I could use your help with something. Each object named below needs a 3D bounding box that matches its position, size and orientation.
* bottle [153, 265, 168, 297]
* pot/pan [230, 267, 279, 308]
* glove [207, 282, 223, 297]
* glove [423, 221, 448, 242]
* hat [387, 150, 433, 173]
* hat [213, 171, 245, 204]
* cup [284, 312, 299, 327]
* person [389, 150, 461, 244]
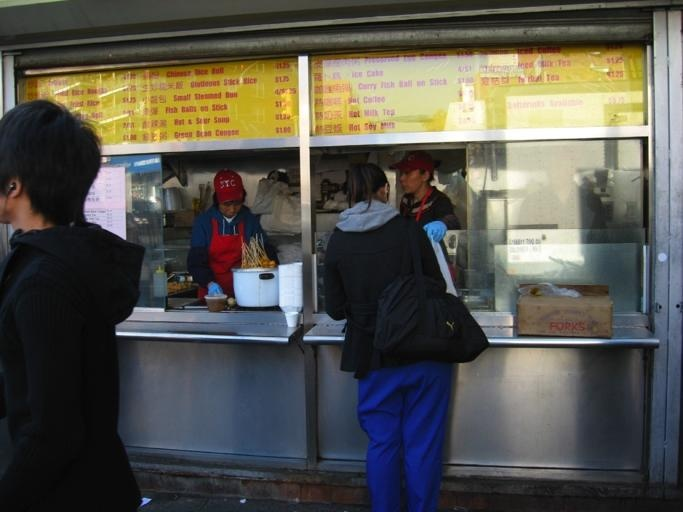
[{"bbox_3d":[-1.217,0.177,4.793,0.084,0.216,0.031,-2,2,-19],"label":"bottle"},{"bbox_3d":[-0.537,0.203,4.592,0.247,0.177,0.281,0,0,-14],"label":"pot/pan"},{"bbox_3d":[-0.854,0.231,4.832,0.081,0.042,0.112,1,7,-3],"label":"glove"},{"bbox_3d":[0.565,-0.137,4.298,0.107,0.146,0.046,-2,-21,5],"label":"glove"},{"bbox_3d":[0.492,-0.629,4.775,0.203,0.117,0.148,0,6,-9],"label":"hat"},{"bbox_3d":[-0.808,-0.515,5.128,0.162,0.266,0.109,-6,-35,-10],"label":"hat"},{"bbox_3d":[-0.311,0.410,4.507,0.086,0.070,0.082,-1,1,0],"label":"cup"},{"bbox_3d":[0.588,-0.404,4.851,0.391,0.845,0.607,-7,7,-4],"label":"person"}]
